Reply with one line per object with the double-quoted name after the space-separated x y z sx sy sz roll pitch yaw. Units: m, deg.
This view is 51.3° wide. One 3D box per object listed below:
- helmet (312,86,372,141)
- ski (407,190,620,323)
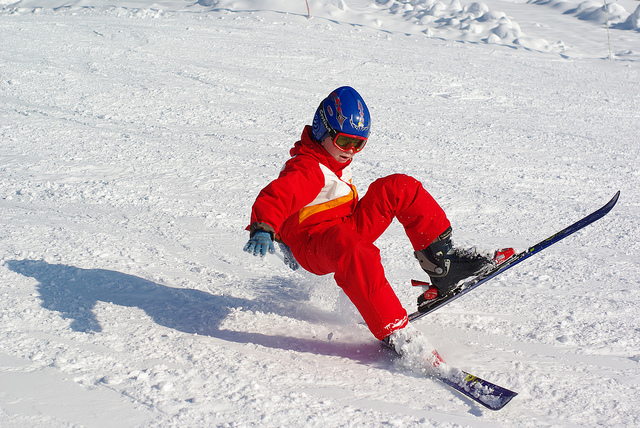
0.132 -0.769 5.072 0.586 0.374 0.355 -1 35 -13 "helmet"
1.479 0.388 5.259 0.089 1.967 0.171 62 4 37 "ski"
